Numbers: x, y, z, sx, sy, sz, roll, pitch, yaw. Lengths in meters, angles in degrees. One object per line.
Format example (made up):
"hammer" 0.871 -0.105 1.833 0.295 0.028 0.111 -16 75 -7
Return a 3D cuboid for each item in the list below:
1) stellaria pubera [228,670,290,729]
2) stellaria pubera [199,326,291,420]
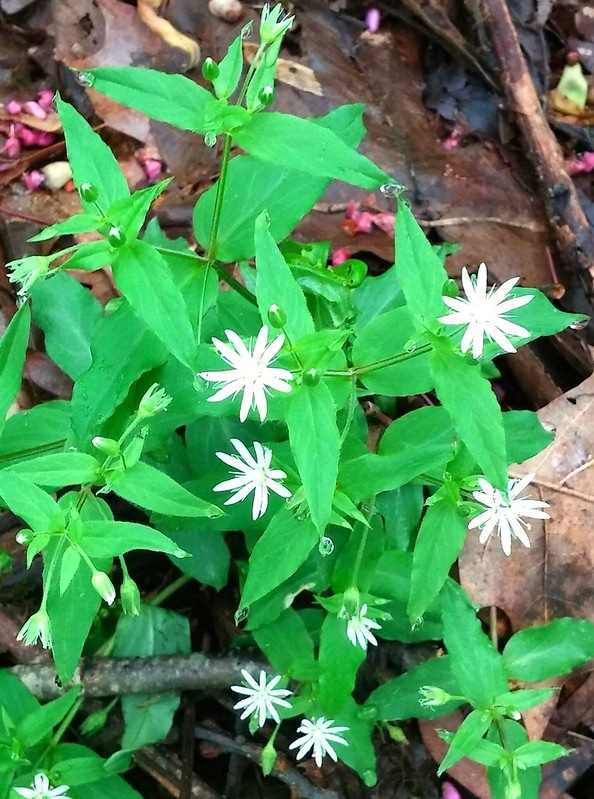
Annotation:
"stellaria pubera" -0.101 0.838 2.145 0.142 0.033 0.136 16 13 34
"stellaria pubera" -0.093 -0.080 1.624 0.222 0.205 0.059 -12 11 5
